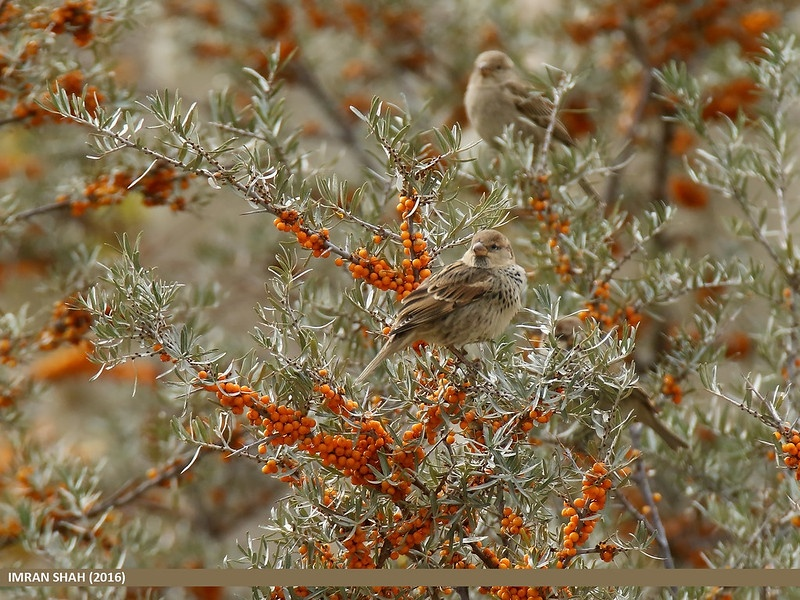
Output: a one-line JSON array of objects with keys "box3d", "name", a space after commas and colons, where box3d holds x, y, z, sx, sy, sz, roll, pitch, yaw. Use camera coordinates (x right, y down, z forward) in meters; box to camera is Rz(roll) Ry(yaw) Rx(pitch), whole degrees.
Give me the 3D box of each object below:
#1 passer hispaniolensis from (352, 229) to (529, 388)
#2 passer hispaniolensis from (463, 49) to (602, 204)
[{"box3d": [0.166, 0.016, 3.330, 0.656, 0.399, 0.479, -6, 80, 20], "name": "passer hispaniolensis"}, {"box3d": [0.703, -0.984, 4.441, 0.780, 0.437, 0.542, -3, 97, -35], "name": "passer hispaniolensis"}]
